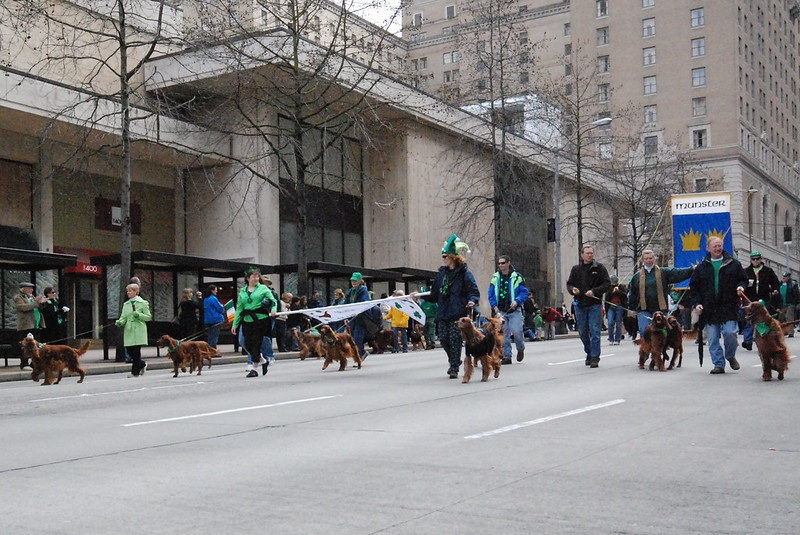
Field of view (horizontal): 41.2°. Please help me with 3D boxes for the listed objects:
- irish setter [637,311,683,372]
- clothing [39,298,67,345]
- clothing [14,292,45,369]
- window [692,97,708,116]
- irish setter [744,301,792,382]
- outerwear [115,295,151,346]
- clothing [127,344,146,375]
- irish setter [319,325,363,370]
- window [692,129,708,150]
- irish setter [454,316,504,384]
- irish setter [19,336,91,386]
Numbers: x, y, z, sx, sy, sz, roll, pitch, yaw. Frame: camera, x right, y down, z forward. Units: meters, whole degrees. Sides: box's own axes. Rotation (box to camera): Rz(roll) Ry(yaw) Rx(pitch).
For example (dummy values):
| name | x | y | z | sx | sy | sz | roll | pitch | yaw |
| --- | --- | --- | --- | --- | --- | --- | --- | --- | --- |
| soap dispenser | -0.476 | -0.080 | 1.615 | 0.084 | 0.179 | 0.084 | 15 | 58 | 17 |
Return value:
| name | x | y | z | sx | sy | sz | roll | pitch | yaw |
| --- | --- | --- | --- | --- | --- | --- | --- | --- | --- |
| irish setter | 6.371 | 1.827 | 25.853 | 1.052 | 1.400 | 1.402 | -2 | -5 | -3 |
| clothing | -10.230 | 1.335 | 31.077 | 0.493 | 1.405 | 0.418 | -13 | 36 | -27 |
| clothing | -10.449 | 1.698 | 30.396 | 0.896 | 2.436 | 0.847 | -1 | 1 | 16 |
| window | 23.519 | -12.523 | 83.642 | 1.476 | 2.056 | 0.218 | -3 | -14 | 27 |
| irish setter | 8.043 | 1.640 | 23.338 | 0.717 | 1.727 | 1.046 | -7 | -7 | 40 |
| outerwear | -6.996 | 1.434 | 27.991 | 0.807 | 1.322 | 0.521 | -1 | -5 | -18 |
| clothing | -7.101 | 2.544 | 28.647 | 0.464 | 0.778 | 1.244 | -1 | -6 | -14 |
| irish setter | -1.632 | 2.134 | 28.873 | 0.636 | 1.305 | 2.107 | -7 | -10 | 20 |
| window | 23.567 | -9.900 | 83.728 | 1.500 | 2.021 | 0.220 | -6 | -12 | 36 |
| irish setter | 1.867 | 1.932 | 24.817 | 0.833 | 1.527 | 1.916 | -4 | -6 | 13 |
| irish setter | -8.790 | 2.426 | 27.018 | 0.533 | 1.236 | 2.097 | -8 | -12 | 33 |
